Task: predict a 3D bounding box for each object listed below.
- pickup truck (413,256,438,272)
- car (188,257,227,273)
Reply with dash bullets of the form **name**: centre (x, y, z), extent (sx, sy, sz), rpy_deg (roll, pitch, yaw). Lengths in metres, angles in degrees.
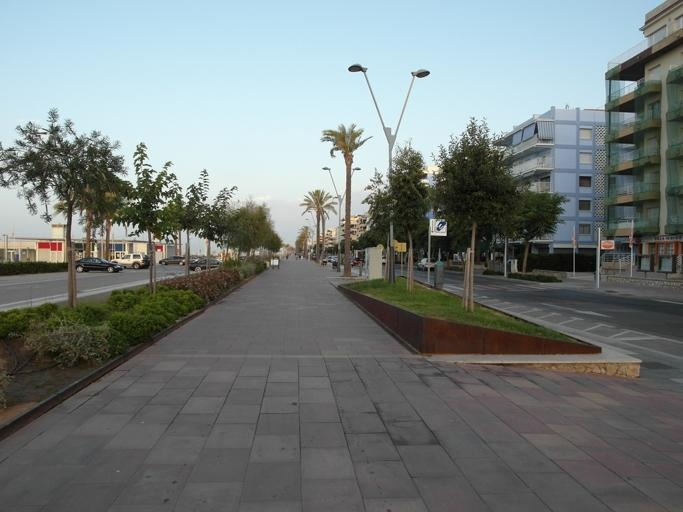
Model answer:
- **pickup truck**: centre (7.868, 0.679, 52.558), extent (1.412, 1.139, 3.195), rpy_deg (-1, 6, -4)
- **car**: centre (-10.844, 0.670, 45.009), extent (2.576, 0.916, 1.236), rpy_deg (-4, 6, -17)
